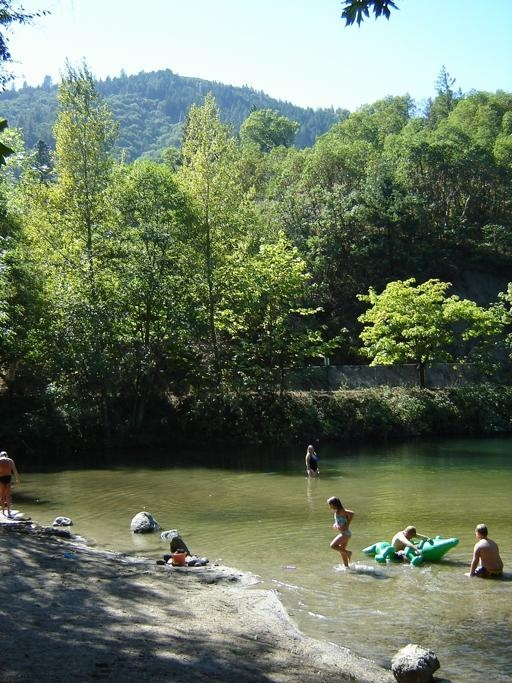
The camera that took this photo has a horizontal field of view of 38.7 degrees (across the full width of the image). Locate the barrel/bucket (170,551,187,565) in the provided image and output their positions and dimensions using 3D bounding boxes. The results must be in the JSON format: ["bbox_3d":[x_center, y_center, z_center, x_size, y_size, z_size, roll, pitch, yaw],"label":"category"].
[{"bbox_3d":[-1.669,4.668,15.743,0.308,0.204,0.296,2,1,0],"label":"barrel/bucket"}]

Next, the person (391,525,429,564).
[{"bbox_3d":[3.571,4.481,16.226,0.993,0.743,0.579,9,3,11],"label":"person"}]

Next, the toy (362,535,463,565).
[{"bbox_3d":[3.369,4.616,15.983,1.382,0.390,0.839,-3,-9,14],"label":"toy"}]
